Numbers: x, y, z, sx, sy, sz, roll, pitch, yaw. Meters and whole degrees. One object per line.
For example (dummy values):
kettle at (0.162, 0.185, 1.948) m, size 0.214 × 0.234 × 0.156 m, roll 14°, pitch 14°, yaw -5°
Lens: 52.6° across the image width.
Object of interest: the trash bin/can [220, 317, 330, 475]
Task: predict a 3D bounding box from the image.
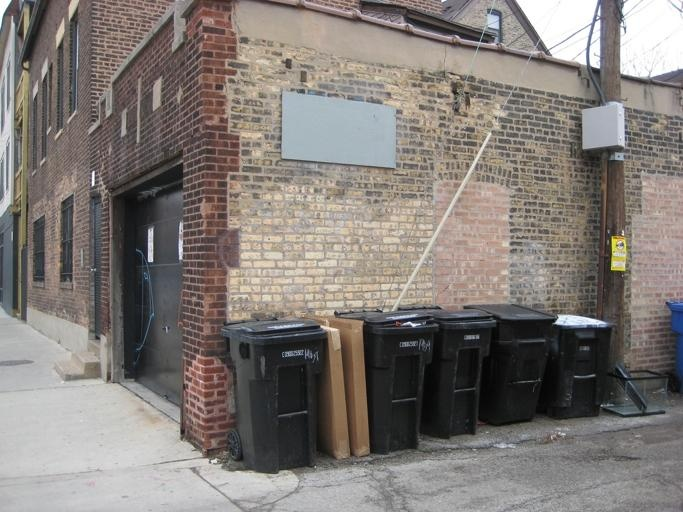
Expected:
trash bin/can at (-0.872, 1.736, 9.016) m, size 1.474 × 2.161 × 1.530 m, roll 2°, pitch -4°, yaw -33°
